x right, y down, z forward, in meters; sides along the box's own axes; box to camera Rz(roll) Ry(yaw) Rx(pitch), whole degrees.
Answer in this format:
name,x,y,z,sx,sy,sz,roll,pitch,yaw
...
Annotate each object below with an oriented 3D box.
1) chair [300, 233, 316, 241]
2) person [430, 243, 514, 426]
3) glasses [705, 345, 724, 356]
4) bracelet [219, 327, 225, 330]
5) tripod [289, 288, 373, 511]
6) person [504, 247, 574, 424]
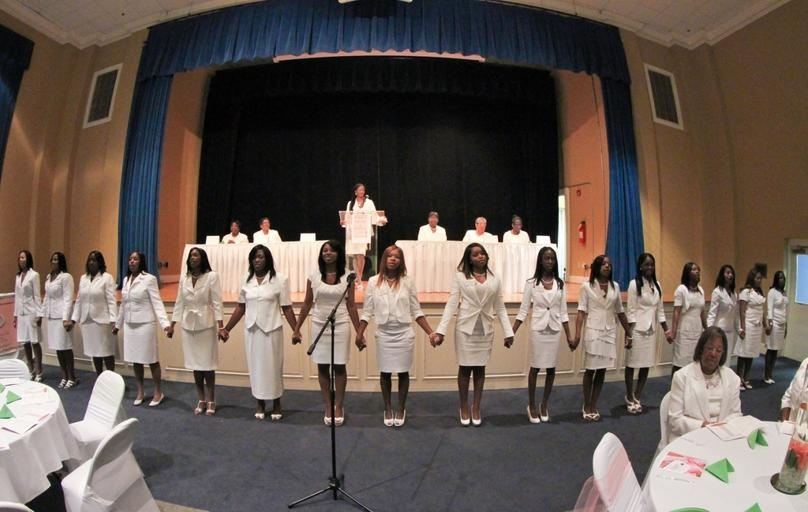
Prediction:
name,x,y,z,sx,sy,sz,roll,pitch,yaw
chair,-2.009,-0.393,12.120,0.247,0.179,0.276,1,-1,-1
person,1.161,1.287,9.777,1.197,3.026,0.485,1,1,3
glasses,4.371,1.302,8.230,0.263,0.112,0.068,1,1,-8
bracelet,-3.073,1.206,9.899,0.040,0.043,0.044,-3,-38,-4
tripod,-1.111,2.024,8.891,1.113,3.205,1.659,1,1,-12
person,2.412,1.298,10.141,0.992,2.101,0.757,1,1,15
